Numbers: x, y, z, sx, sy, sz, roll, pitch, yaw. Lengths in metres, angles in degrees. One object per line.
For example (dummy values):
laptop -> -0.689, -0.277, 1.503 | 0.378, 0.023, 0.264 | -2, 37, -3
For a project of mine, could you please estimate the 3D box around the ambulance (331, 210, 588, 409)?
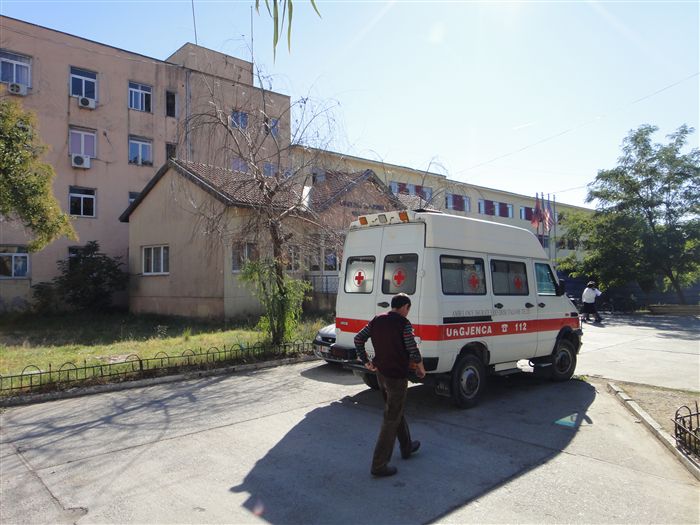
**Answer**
ambulance -> 2.608, 0.855, 11.402 | 5.620, 3.895, 2.917 | 0, -2, -38

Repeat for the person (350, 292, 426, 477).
person -> 0.620, 1.623, 7.311 | 1.112, 2.384, 0.819 | 1, -1, -44
